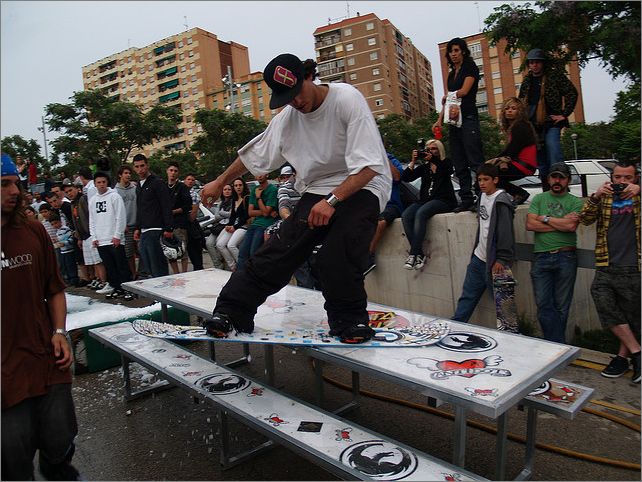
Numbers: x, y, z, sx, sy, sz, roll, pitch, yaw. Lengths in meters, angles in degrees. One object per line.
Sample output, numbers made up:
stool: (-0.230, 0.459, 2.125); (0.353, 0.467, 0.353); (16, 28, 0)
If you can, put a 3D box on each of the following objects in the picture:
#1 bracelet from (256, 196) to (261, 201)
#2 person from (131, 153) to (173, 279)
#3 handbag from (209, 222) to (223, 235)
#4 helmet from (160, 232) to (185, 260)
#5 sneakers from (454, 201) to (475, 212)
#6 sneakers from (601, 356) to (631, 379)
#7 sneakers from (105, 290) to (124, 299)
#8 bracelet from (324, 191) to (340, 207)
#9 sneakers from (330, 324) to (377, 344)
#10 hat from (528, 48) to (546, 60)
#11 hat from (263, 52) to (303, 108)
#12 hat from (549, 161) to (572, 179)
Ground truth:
bracelet: (-1.152, -0.809, 8.256); (0.083, 0.090, 0.065); (-1, 11, -11)
person: (-3.165, -0.477, 8.290); (0.859, 2.304, 0.390); (7, 9, 36)
handbag: (-2.426, -0.289, 10.360); (0.342, 0.141, 0.326); (-35, 28, -7)
helmet: (-2.757, 0.111, 8.337); (0.509, 0.300, 0.411); (42, 37, 25)
sneakers: (2.068, -0.506, 6.537); (0.397, 0.128, 0.114); (0, 6, 8)
sneakers: (3.269, 1.405, 4.885); (0.451, 0.132, 0.143); (2, 0, -33)
sneakers: (-4.240, 1.101, 9.202); (0.495, 0.150, 0.168); (3, 3, 12)
bracelet: (0.092, -0.315, 3.404); (0.129, 0.071, 0.116); (24, 17, -24)
sneakers: (0.270, 0.721, 3.437); (0.263, 0.066, 0.167); (3, 3, 41)
hat: (3.289, -2.818, 6.714); (0.260, 0.090, 0.236); (9, 26, 22)
hat: (-0.287, -1.212, 3.337); (0.312, 0.426, 0.279); (3, 7, 4)
hat: (2.983, -0.878, 5.488); (0.219, 0.193, 0.233); (5, 7, 29)
